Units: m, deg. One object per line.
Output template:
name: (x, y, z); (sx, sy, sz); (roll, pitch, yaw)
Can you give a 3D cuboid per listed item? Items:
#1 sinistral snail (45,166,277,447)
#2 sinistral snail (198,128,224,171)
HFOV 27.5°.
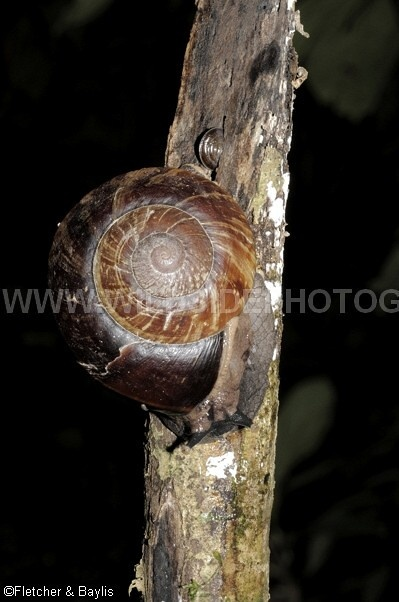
sinistral snail: (-0.050, -0.001, 1.190); (0.328, 0.154, 0.433); (-17, 101, -3)
sinistral snail: (0.021, -0.258, 1.399); (0.041, 0.057, 0.062); (11, 55, -1)
